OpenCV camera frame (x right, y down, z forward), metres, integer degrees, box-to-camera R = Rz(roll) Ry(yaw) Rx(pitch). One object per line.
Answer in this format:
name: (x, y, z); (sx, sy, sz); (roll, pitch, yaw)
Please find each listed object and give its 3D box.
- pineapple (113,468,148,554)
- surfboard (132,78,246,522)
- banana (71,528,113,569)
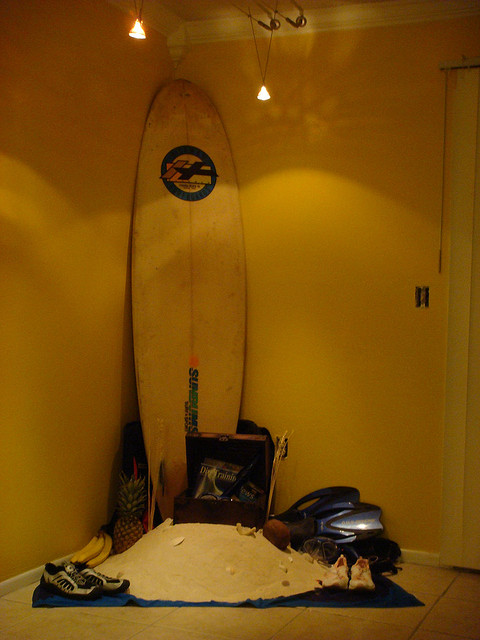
pineapple: (-0.544, 0.932, 2.883); (0.144, 0.335, 0.166); (0, 8, -6)
surfboard: (-0.270, -0.154, 3.206); (0.610, 2.286, 0.548); (-2, 8, -15)
banana: (-0.681, 1.063, 2.728); (0.043, 0.138, 0.086); (17, -50, 17)
